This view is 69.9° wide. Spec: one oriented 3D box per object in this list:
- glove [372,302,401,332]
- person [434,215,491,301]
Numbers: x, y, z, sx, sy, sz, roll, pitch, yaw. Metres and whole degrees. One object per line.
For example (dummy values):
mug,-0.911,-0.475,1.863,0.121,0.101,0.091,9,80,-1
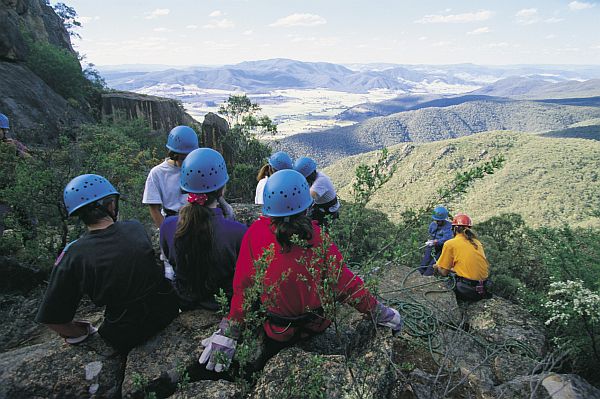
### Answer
glove,1.611,2.175,7.885,0.614,0.470,0.240,21,-10,-19
person,3.778,1.336,9.694,1.204,1.781,0.912,21,34,34
